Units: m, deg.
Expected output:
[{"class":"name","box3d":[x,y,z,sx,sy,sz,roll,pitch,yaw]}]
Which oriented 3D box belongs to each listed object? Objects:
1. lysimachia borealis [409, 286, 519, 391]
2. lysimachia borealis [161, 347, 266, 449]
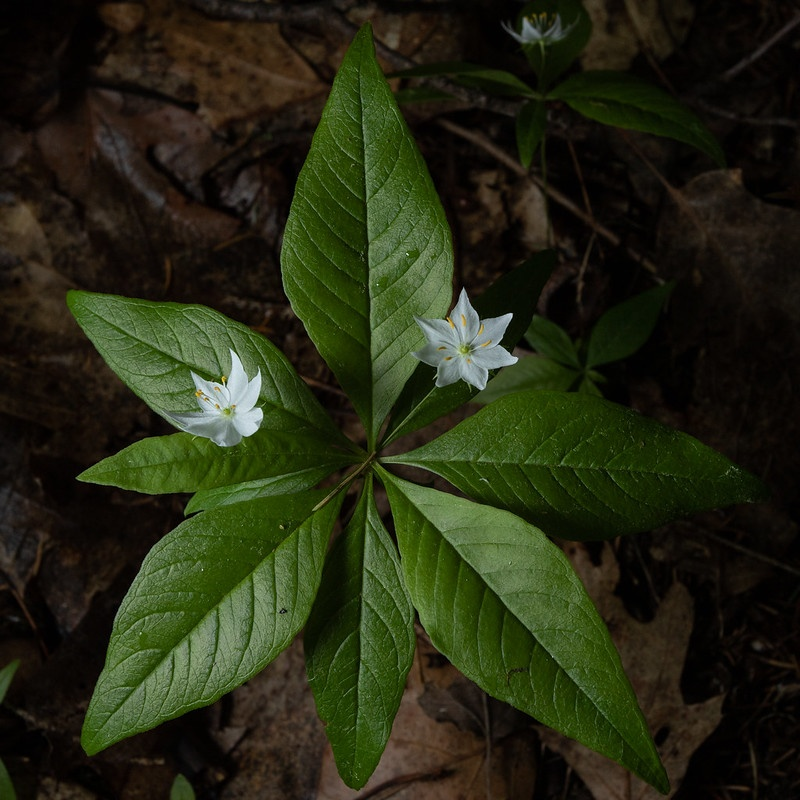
[{"class":"lysimachia borealis","box3d":[0.228,-0.164,3.320,0.310,0.316,0.096,26,14,3]},{"class":"lysimachia borealis","box3d":[-0.586,0.034,3.263,0.297,0.106,0.289,-30,79,12]}]
